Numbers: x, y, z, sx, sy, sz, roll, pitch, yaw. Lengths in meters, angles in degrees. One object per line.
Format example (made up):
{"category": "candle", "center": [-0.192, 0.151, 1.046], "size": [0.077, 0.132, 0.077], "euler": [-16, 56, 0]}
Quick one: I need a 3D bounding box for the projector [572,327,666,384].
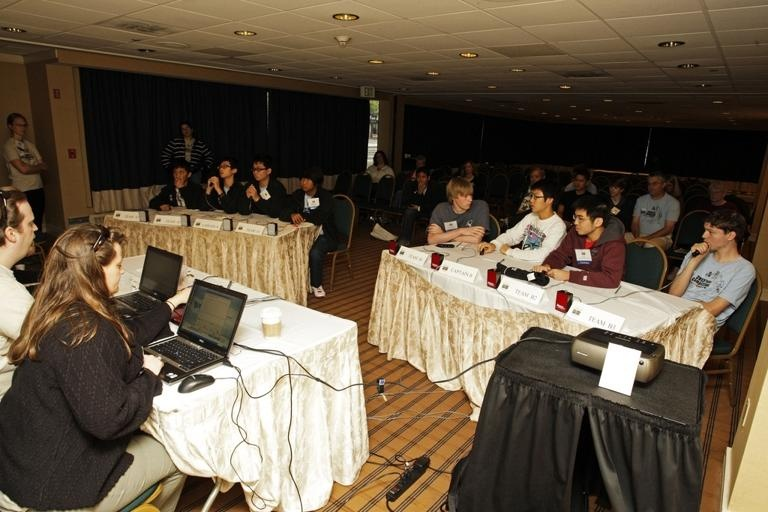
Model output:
{"category": "projector", "center": [1.094, 0.452, 2.179], "size": [0.359, 0.122, 0.287], "euler": [11, 15, 33]}

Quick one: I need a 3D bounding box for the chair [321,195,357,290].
{"category": "chair", "center": [-0.601, -0.062, 5.681], "size": [0.480, 1.214, 0.427], "euler": [7, 26, 1]}

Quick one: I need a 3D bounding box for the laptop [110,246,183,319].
{"category": "laptop", "center": [-1.587, 0.173, 2.945], "size": [0.456, 0.298, 0.470], "euler": [16, 24, 38]}

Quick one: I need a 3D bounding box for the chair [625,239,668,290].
{"category": "chair", "center": [2.174, 0.080, 3.928], "size": [0.319, 0.462, 0.422], "euler": [4, 13, 3]}
